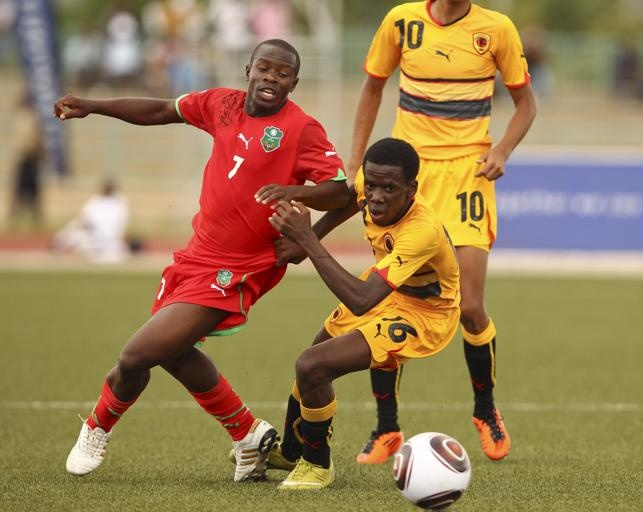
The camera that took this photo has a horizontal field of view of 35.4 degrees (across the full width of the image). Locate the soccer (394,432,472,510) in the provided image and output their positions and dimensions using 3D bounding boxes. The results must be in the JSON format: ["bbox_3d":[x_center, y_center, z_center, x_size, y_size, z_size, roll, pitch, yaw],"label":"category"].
[{"bbox_3d":[0.609,1.175,5.555,0.360,0.376,0.309,7,12,37],"label":"soccer"}]

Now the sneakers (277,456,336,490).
[{"bbox_3d":[-0.081,1.249,5.904,0.360,0.144,0.131,-4,-1,-36],"label":"sneakers"}]

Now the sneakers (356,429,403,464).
[{"bbox_3d":[0.392,1.194,6.537,0.363,0.181,0.130,-24,20,-38],"label":"sneakers"}]

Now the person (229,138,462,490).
[{"bbox_3d":[0.277,0.316,5.938,1.146,2.002,0.580,-7,12,-34],"label":"person"}]

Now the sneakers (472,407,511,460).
[{"bbox_3d":[1.127,1.151,6.612,0.138,0.157,0.362,-17,51,-1],"label":"sneakers"}]

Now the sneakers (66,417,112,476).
[{"bbox_3d":[-1.398,1.169,6.058,0.157,0.158,0.394,28,51,-16],"label":"sneakers"}]

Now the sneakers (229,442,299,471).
[{"bbox_3d":[-0.341,1.247,6.212,0.471,0.210,0.166,8,-16,-2],"label":"sneakers"}]

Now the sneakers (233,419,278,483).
[{"bbox_3d":[-0.405,1.147,6.134,0.218,0.430,0.169,26,18,15],"label":"sneakers"}]
